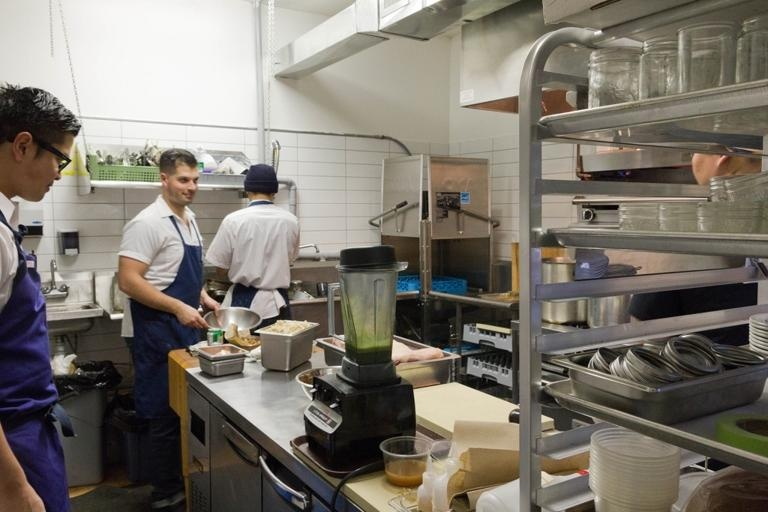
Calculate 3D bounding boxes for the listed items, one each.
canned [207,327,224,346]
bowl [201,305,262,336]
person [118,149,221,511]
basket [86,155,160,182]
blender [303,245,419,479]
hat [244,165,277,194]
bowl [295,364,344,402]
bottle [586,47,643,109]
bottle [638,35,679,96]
[{"bbox_3d":[-0.876,0.419,2.980,0.106,0.085,0.102,1,-1,-37],"label":"canned"},{"bbox_3d":[-0.844,0.359,3.175,0.195,0.055,0.184,4,10,-1],"label":"bowl"},{"bbox_3d":[-1.359,0.413,3.510,0.480,2.168,0.520,-2,6,-18],"label":"person"},{"bbox_3d":[-2.062,-0.674,4.484,0.390,0.138,0.210,-1,3,-24],"label":"basket"},{"bbox_3d":[-0.082,0.323,1.913,0.372,0.709,0.271,-1,6,-7],"label":"blender"},{"bbox_3d":[-0.876,-0.552,4.037,0.223,0.168,0.229,0,-3,-18],"label":"hat"},{"bbox_3d":[-0.288,0.507,2.333,0.221,0.067,0.202,0,7,0],"label":"bowl"},{"bbox_3d":[0.612,-0.455,1.462,0.151,0.141,0.136,-4,15,5],"label":"bottle"},{"bbox_3d":[0.660,-0.449,1.354,0.085,0.142,0.033,3,7,29],"label":"bottle"}]
